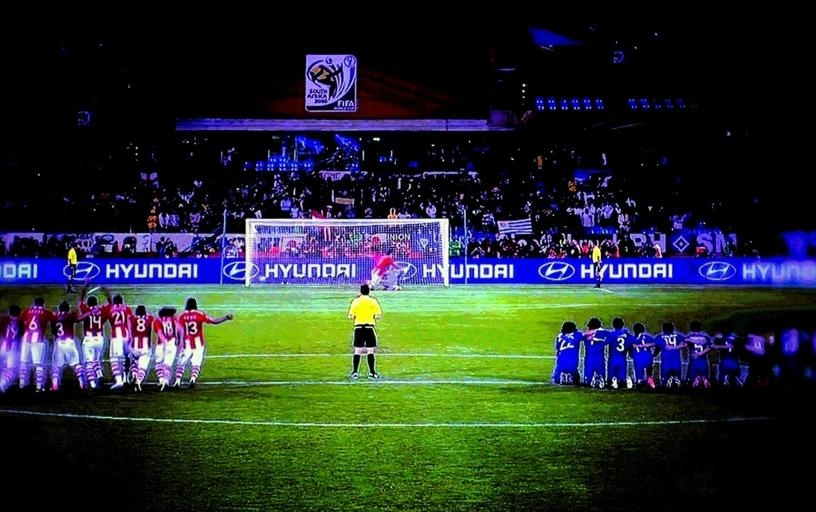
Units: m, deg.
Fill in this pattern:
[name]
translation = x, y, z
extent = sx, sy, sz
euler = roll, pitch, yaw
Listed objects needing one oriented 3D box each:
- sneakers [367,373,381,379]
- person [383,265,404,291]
[sneakers]
translation = -0.955, 3.512, 27.787
extent = 0.397, 0.157, 0.129
euler = 0, 0, -3
[person]
translation = -0.684, 1.099, 45.903
extent = 1.022, 1.199, 1.196
euler = 1, 2, 26
